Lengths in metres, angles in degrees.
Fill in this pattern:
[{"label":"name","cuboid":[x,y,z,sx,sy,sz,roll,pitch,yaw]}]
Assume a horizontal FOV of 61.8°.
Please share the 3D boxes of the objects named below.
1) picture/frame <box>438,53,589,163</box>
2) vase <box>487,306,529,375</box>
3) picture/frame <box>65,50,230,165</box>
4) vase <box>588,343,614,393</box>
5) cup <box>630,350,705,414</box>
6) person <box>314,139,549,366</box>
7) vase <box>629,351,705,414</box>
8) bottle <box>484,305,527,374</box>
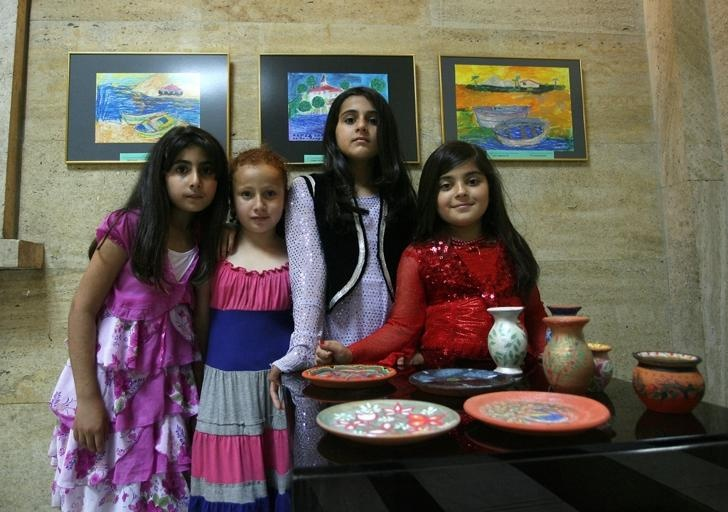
[{"label":"picture/frame","cuboid":[0.866,-0.879,3.659,0.976,0.557,0.029,2,-4,-9]},{"label":"vase","cuboid":[0.631,0.357,2.579,0.199,0.255,0.191,-3,-1,29]},{"label":"picture/frame","cuboid":[-1.261,-0.820,3.423,0.931,0.534,0.028,2,-1,-7]},{"label":"vase","cuboid":[0.920,0.442,2.445,0.143,0.155,0.130,5,2,8]},{"label":"cup","cuboid":[1.120,0.462,2.286,0.254,0.150,0.236,2,2,0]},{"label":"person","cuboid":[0.372,-0.036,2.775,0.517,1.015,0.815,3,5,38]},{"label":"vase","cuboid":[1.113,0.461,2.293,0.254,0.148,0.233,2,1,4]},{"label":"bottle","cuboid":[0.621,0.359,2.581,0.228,0.252,0.204,-1,-3,-14]}]
